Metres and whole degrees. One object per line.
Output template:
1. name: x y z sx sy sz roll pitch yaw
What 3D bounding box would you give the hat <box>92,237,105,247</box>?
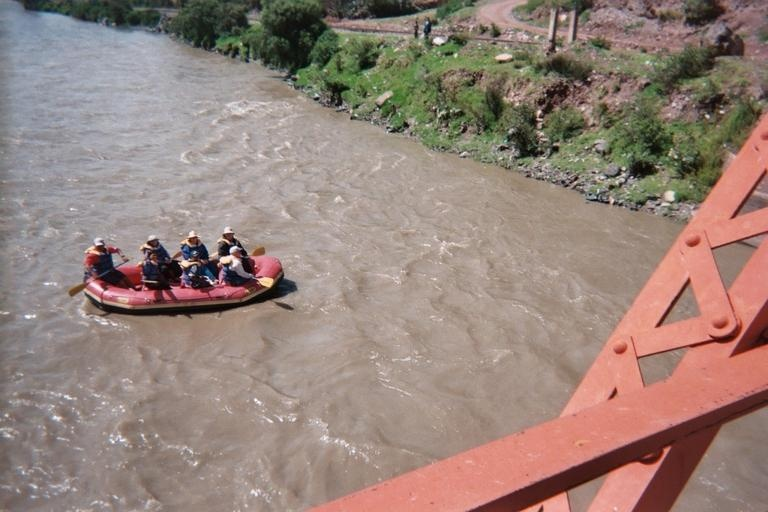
1. hat: -12.069 -0.560 32.968 0.604 0.421 0.799 -3 -5 -29

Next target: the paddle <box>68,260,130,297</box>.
1. paddle: -12.126 1.021 33.050 2.593 0.359 0.118 -34 -8 -13

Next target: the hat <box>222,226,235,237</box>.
1. hat: -6.703 -1.079 33.297 0.554 0.295 0.625 -4 -16 -2

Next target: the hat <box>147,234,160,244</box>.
1. hat: -9.763 -0.742 32.711 0.380 0.355 0.750 2 27 -21

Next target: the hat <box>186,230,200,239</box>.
1. hat: -8.092 -0.863 32.775 0.561 0.265 0.716 -6 14 -22

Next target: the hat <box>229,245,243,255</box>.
1. hat: -6.272 -0.218 32.777 0.421 0.205 0.304 -13 20 -29
